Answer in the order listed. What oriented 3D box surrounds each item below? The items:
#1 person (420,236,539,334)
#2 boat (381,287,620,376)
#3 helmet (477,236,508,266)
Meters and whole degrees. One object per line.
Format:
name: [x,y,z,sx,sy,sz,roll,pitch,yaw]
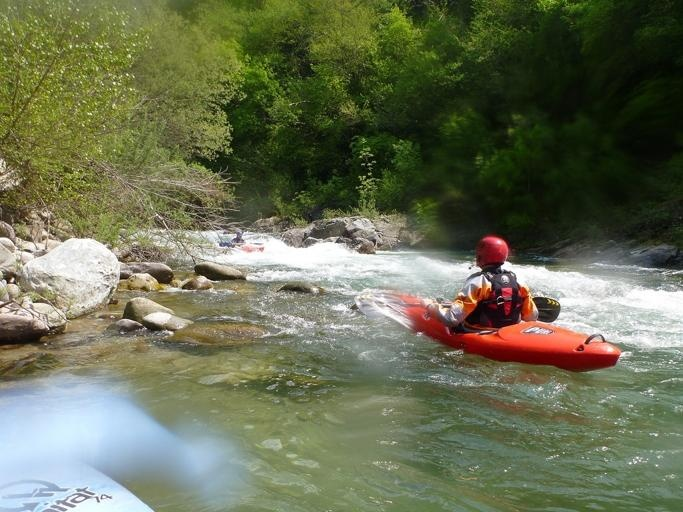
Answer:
person: [1.579,0.353,6.790,1.225,0.778,1.414,-2,9,-21]
boat: [1.788,0.842,6.341,0.883,0.345,2.598,3,1,-45]
helmet: [1.780,-0.049,6.277,0.359,0.327,0.408,5,-2,11]
